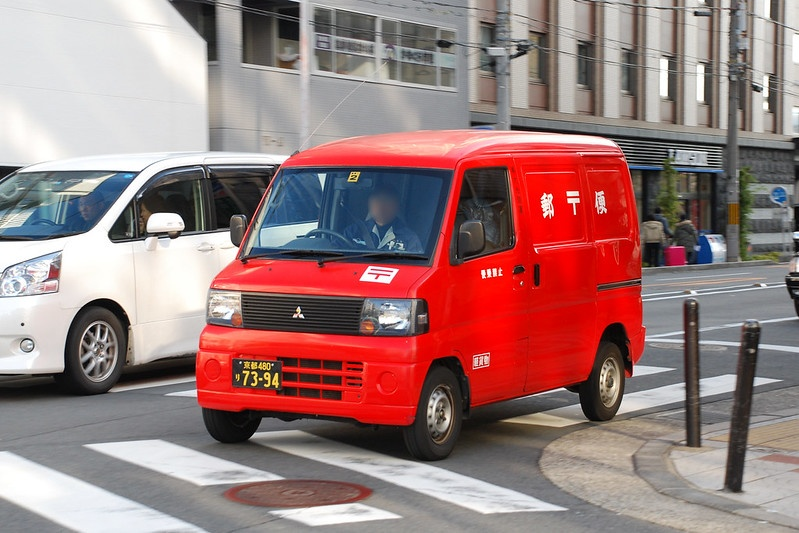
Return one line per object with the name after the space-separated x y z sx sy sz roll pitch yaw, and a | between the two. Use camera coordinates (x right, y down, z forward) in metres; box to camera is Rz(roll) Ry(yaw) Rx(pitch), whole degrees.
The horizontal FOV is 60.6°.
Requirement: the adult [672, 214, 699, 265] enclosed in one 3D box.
13.754 -1.311 32.867 0.959 2.380 1.307 -1 7 24 | adult

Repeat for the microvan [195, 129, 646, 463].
0.370 0.246 6.629 4.101 3.168 1.771 -7 7 -39 | microvan

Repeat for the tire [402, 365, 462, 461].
0.293 1.233 5.735 0.209 0.833 0.657 1 7 37 | tire

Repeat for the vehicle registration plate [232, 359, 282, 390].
-1.181 0.892 5.661 0.465 0.239 0.054 0 7 23 | vehicle registration plate

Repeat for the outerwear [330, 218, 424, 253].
-0.127 -0.267 5.902 0.761 0.291 0.228 1 7 31 | outerwear

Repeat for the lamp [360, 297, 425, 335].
-0.054 0.402 5.416 0.528 0.185 0.336 0 1 20 | lamp

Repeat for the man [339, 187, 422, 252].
-0.139 -0.395 5.960 0.764 0.369 0.343 5 0 18 | man

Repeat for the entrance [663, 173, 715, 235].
16.708 -3.710 39.533 5.709 4.744 0.378 4 -9 -34 | entrance

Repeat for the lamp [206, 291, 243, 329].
-1.497 0.360 5.907 0.399 0.281 0.109 3 4 25 | lamp

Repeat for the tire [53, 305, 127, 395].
-3.654 0.994 8.135 0.245 1.056 0.744 2 8 44 | tire

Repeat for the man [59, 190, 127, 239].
-3.759 -0.664 8.332 0.597 0.526 0.542 -5 6 -21 | man
